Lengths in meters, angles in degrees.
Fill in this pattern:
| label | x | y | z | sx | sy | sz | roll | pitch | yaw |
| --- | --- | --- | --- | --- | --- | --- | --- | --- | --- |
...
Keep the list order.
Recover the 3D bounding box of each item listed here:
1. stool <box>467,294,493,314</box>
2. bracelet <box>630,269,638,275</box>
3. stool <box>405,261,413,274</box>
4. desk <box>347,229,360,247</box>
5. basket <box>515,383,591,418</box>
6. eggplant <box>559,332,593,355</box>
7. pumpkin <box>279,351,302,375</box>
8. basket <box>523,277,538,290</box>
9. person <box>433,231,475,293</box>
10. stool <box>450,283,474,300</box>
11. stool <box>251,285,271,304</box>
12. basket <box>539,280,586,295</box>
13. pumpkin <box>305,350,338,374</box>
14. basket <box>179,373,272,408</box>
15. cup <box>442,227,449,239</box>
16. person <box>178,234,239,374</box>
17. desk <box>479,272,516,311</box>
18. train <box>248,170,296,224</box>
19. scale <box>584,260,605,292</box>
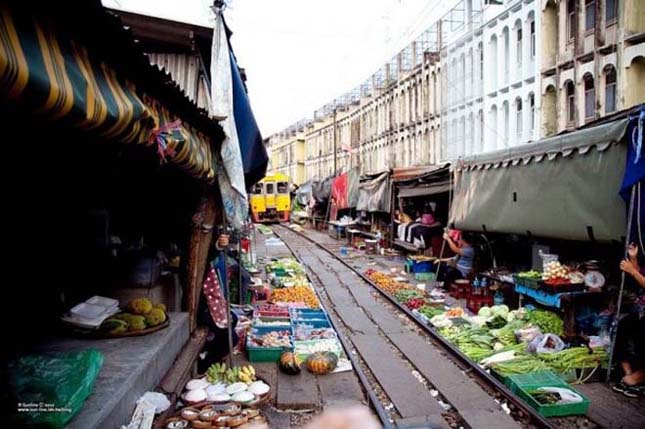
| label | x | y | z | sx | sy | sz | roll | pitch | yaw |
| --- | --- | --- | --- | --- | --- | --- | --- | --- | --- |
| stool | 4.015 | 2.210 | 11.264 | 0.451 | 0.367 | 0.471 | -2 | 8 | -9 |
| bracelet | 5.161 | 0.952 | 7.332 | 0.073 | 0.071 | 0.072 | -11 | 13 | -14 |
| stool | 3.169 | 1.933 | 16.149 | 0.302 | 0.359 | 0.368 | -1 | 4 | 6 |
| desk | 1.778 | 1.271 | 24.700 | 0.731 | 0.973 | 0.763 | 1 | 1 | -3 |
| basket | 3.539 | 2.919 | 6.797 | 0.825 | 0.380 | 0.471 | -2 | -1 | 0 |
| eggplant | 4.714 | 2.358 | 8.280 | 0.464 | 0.300 | 0.445 | 1 | 0 | 31 |
| pumpkin | -0.571 | 2.687 | 8.022 | 0.309 | 0.209 | 0.455 | 1 | 0 | -42 |
| basket | 4.337 | 1.413 | 9.205 | 0.179 | 0.193 | 0.113 | 5 | 11 | -31 |
| person | 3.864 | 1.365 | 13.145 | 1.020 | 1.795 | 0.986 | 11 | -2 | -29 |
| stool | 3.878 | 2.123 | 12.497 | 0.420 | 0.356 | 0.438 | 0 | -1 | -11 |
| stool | -1.608 | 2.104 | 11.701 | 0.369 | 0.329 | 0.390 | 0 | 0 | 1 |
| basket | 4.692 | 1.454 | 8.719 | 0.793 | 0.270 | 0.358 | 1 | 0 | 31 |
| pumpkin | -0.007 | 2.695 | 8.034 | 0.577 | 0.242 | 0.391 | 1 | 0 | 1 |
| basket | -1.345 | 2.699 | 6.711 | 1.677 | 0.312 | 0.775 | -14 | -7 | 13 |
| cup | 3.831 | 0.576 | 13.788 | 0.125 | 0.389 | 0.264 | 8 | 5 | -1 |
| person | -1.855 | 1.495 | 7.877 | 0.697 | 2.391 | 1.406 | 1 | 0 | -12 |
| desk | 4.580 | 1.960 | 11.242 | 0.894 | 0.938 | 0.933 | -2 | 7 | -9 |
| train | -4.467 | -1.527 | 39.810 | 3.076 | 4.373 | 4.497 | 1 | 0 | 11 |
| scale | 5.325 | 1.134 | 8.721 | 0.381 | 0.535 | 0.402 | -15 | 17 | -30 |
